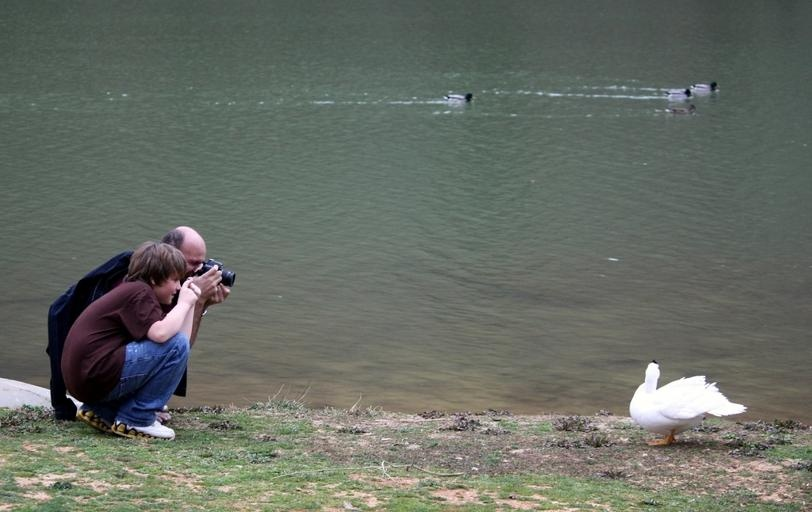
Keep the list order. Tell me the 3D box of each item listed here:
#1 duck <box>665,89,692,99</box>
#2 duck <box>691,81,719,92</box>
[{"bbox_3d":[9.846,-5.886,44.846,1.021,0.200,0.548,0,5,13],"label":"duck"},{"bbox_3d":[11.259,-6.323,46.194,1.216,0.256,0.603,-2,7,-9],"label":"duck"}]
